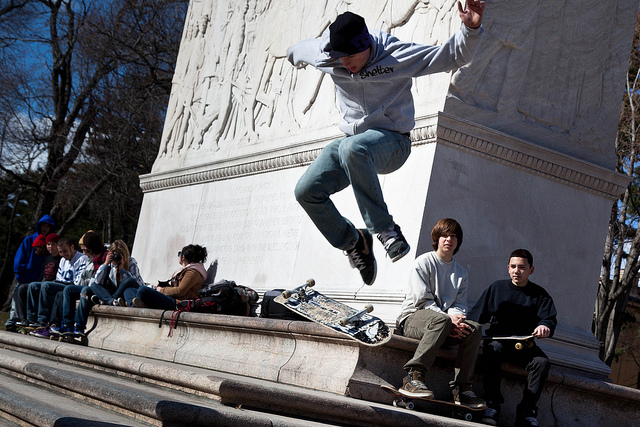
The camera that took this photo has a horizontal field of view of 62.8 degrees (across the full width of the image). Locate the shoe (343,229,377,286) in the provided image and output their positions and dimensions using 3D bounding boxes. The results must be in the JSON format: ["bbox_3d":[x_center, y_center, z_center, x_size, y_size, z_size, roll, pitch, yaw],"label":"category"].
[{"bbox_3d":[0.460,0.442,5.565,0.274,0.686,0.207,-15,6,-39],"label":"shoe"}]

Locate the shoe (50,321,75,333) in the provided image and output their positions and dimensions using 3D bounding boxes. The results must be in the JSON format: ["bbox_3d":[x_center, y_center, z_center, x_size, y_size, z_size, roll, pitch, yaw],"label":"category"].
[{"bbox_3d":[-4.573,2.025,9.373,0.536,0.171,0.287,2,-11,30],"label":"shoe"}]

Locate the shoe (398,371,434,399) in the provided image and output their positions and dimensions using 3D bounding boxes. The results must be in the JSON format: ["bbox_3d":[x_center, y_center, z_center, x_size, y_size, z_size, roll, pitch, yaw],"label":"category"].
[{"bbox_3d":[0.959,1.710,5.239,0.173,0.269,0.536,22,-19,-14],"label":"shoe"}]

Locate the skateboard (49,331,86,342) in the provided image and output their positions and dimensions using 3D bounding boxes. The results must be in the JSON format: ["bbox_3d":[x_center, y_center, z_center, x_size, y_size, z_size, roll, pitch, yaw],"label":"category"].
[{"bbox_3d":[-4.546,2.166,9.354,0.778,0.186,0.315,3,-10,23],"label":"skateboard"}]

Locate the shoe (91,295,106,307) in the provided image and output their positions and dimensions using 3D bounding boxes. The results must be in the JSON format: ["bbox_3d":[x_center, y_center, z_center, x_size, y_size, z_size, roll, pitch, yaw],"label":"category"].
[{"bbox_3d":[-3.963,1.554,9.400,0.313,0.187,0.117,1,-10,32],"label":"shoe"}]

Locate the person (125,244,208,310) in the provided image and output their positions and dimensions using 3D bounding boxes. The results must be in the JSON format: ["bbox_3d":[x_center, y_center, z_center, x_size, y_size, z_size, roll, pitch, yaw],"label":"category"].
[{"bbox_3d":[-2.637,1.109,9.118,1.189,1.331,0.917,13,-16,-18],"label":"person"}]

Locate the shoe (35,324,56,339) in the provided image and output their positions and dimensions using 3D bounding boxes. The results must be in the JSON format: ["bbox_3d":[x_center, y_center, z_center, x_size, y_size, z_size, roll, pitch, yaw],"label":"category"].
[{"bbox_3d":[-5.007,2.175,9.729,0.543,0.255,0.193,5,-9,37],"label":"shoe"}]

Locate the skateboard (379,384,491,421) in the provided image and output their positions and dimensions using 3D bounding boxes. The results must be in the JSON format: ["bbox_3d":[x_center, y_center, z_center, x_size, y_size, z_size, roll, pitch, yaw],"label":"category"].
[{"bbox_3d":[1.110,1.877,5.201,0.994,0.166,0.270,13,-8,-12],"label":"skateboard"}]

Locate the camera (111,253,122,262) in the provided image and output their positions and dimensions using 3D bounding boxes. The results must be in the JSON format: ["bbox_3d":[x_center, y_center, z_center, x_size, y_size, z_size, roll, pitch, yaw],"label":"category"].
[{"bbox_3d":[-3.510,0.749,9.066,0.094,0.141,0.128,10,19,-20],"label":"camera"}]

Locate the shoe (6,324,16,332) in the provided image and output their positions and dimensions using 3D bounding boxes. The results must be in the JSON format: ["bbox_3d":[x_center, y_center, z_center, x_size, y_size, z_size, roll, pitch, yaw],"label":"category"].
[{"bbox_3d":[-6.159,2.276,10.510,0.160,0.121,0.300,12,-11,-29],"label":"shoe"}]

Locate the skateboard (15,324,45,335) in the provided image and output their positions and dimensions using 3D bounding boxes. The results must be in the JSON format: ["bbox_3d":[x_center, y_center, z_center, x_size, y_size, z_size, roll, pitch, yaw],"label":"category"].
[{"bbox_3d":[-5.541,2.209,10.048,1.071,0.216,0.162,-2,-13,45],"label":"skateboard"}]

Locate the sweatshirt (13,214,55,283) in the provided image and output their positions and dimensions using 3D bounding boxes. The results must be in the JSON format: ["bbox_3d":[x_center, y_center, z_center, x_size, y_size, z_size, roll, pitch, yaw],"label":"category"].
[{"bbox_3d":[-6.326,0.770,11.640,1.186,1.561,0.539,-2,-12,43],"label":"sweatshirt"}]

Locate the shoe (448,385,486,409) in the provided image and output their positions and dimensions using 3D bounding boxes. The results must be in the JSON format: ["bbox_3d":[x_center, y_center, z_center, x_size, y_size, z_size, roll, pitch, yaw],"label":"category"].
[{"bbox_3d":[1.513,1.880,5.453,0.151,0.207,0.443,10,-10,-43],"label":"shoe"}]

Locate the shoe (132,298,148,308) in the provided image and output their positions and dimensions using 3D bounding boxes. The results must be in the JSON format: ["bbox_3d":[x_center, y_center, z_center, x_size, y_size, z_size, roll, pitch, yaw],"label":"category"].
[{"bbox_3d":[-2.986,1.473,8.675,0.284,0.100,0.113,38,-1,0],"label":"shoe"}]

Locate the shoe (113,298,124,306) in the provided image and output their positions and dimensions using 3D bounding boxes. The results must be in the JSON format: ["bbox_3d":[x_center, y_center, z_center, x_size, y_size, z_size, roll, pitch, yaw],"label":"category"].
[{"bbox_3d":[-3.492,1.525,9.125,0.241,0.136,0.067,1,-10,33],"label":"shoe"}]

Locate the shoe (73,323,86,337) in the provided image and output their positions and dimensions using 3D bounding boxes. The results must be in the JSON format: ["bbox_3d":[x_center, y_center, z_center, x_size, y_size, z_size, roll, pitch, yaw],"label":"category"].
[{"bbox_3d":[-4.323,2.081,9.469,0.193,0.210,0.569,11,-10,-22],"label":"shoe"}]

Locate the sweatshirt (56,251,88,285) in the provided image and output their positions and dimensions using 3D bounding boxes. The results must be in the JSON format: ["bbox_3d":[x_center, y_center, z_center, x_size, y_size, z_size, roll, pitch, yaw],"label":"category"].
[{"bbox_3d":[-4.942,1.131,10.473,0.767,0.725,0.314,0,-9,24],"label":"sweatshirt"}]

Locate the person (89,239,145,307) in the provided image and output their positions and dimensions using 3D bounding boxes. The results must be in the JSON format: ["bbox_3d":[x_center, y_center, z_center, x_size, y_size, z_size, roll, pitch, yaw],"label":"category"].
[{"bbox_3d":[-3.637,1.054,9.368,0.671,1.168,1.175,4,-9,-8],"label":"person"}]

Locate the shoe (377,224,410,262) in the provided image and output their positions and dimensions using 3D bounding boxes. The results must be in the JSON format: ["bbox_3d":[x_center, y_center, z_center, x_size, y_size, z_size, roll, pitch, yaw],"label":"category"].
[{"bbox_3d":[0.741,0.273,5.377,0.238,0.310,0.775,-27,3,8],"label":"shoe"}]

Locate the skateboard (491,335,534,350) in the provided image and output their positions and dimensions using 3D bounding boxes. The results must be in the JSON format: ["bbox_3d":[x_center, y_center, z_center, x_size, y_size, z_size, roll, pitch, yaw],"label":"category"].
[{"bbox_3d":[2.081,1.404,5.912,0.611,0.120,0.178,-4,32,20],"label":"skateboard"}]
